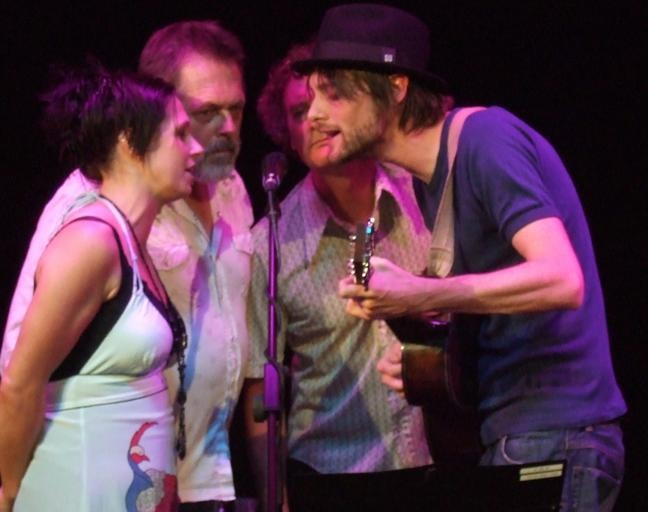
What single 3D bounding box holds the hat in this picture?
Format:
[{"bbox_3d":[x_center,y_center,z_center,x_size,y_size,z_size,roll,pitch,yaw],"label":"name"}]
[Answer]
[{"bbox_3d":[0.205,-0.740,2.872,0.413,0.183,0.355,12,-3,-19],"label":"hat"}]
